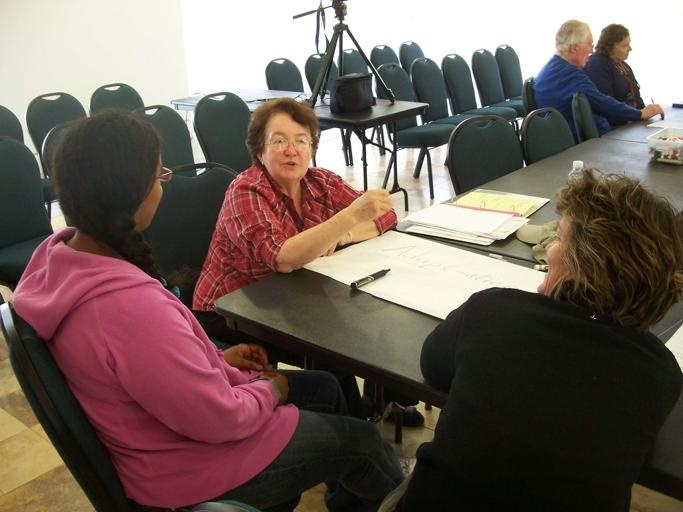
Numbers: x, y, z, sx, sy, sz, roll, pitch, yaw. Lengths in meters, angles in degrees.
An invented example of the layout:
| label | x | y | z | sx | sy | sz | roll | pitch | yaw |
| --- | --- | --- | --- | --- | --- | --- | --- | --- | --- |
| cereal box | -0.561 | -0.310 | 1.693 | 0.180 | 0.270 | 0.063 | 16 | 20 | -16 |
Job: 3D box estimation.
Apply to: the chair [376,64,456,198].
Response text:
| label | x | y | z | sx | sy | sz | roll | pitch | yaw |
| --- | --- | --- | --- | --- | --- | --- | --- | --- | --- |
| chair | 0.675 | -1.115 | 4.535 | 0.621 | 0.974 | 0.585 | 33 | 32 | 31 |

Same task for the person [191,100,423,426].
| label | x | y | z | sx | sy | sz | roll | pitch | yaw |
| --- | --- | --- | --- | --- | --- | --- | --- | --- | --- |
| person | -0.150 | 0.028 | 1.845 | 0.773 | 1.134 | 0.553 | 2 | 15 | 23 |

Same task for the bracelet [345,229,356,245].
| label | x | y | z | sx | sy | sz | roll | pitch | yaw |
| --- | --- | --- | --- | --- | --- | --- | --- | --- | --- |
| bracelet | 0.026 | -0.065 | 1.740 | 0.032 | 0.045 | 0.017 | 28 | 2 | 31 |
